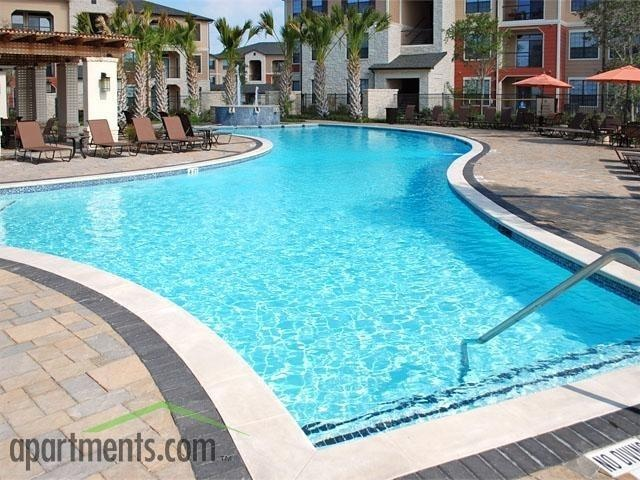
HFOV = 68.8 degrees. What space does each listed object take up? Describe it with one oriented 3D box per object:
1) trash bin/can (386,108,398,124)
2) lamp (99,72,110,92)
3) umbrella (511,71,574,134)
[{"bbox_3d":[5.068,-8.825,33.103,1.157,1.096,1.047,-3,13,-4],"label":"trash bin/can"},{"bbox_3d":[-8.229,-5.970,17.688,0.393,0.727,0.144,-8,17,-18],"label":"lamp"},{"bbox_3d":[12.048,-8.120,25.128,2.363,1.356,2.276,-21,23,-21],"label":"umbrella"}]
